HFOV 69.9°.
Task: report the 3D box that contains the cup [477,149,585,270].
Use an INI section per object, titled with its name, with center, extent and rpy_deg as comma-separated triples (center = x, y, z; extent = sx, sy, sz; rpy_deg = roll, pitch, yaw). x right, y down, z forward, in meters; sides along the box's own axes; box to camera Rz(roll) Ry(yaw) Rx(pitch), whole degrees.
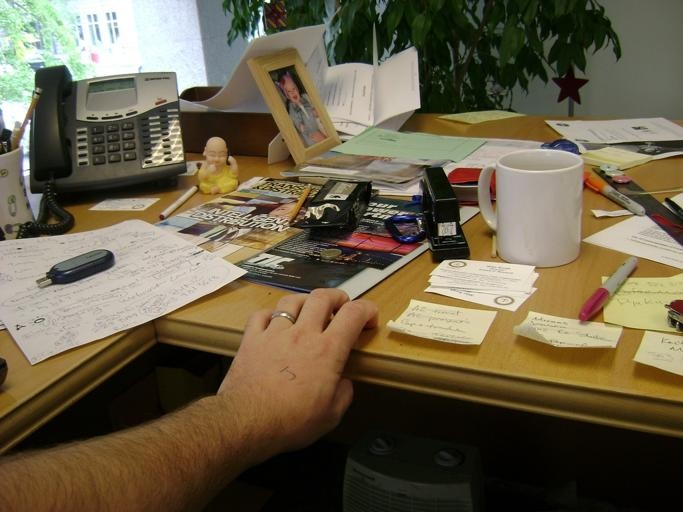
[cup]
center = 0.268, -0.074, 0.706
extent = 0.192, 0.137, 0.151
rpy_deg = 17, 30, 39

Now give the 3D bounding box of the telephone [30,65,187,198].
[telephone]
center = -0.434, -0.230, 0.934
extent = 0.296, 0.265, 0.116
rpy_deg = -9, -19, -8

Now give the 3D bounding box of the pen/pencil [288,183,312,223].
[pen/pencil]
center = -0.056, -0.092, 0.839
extent = 0.012, 0.012, 0.120
rpy_deg = -29, 16, 37

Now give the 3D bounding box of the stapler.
[stapler]
center = 0.146, -0.073, 0.709
extent = 0.057, 0.074, 0.181
rpy_deg = -6, 28, 8
